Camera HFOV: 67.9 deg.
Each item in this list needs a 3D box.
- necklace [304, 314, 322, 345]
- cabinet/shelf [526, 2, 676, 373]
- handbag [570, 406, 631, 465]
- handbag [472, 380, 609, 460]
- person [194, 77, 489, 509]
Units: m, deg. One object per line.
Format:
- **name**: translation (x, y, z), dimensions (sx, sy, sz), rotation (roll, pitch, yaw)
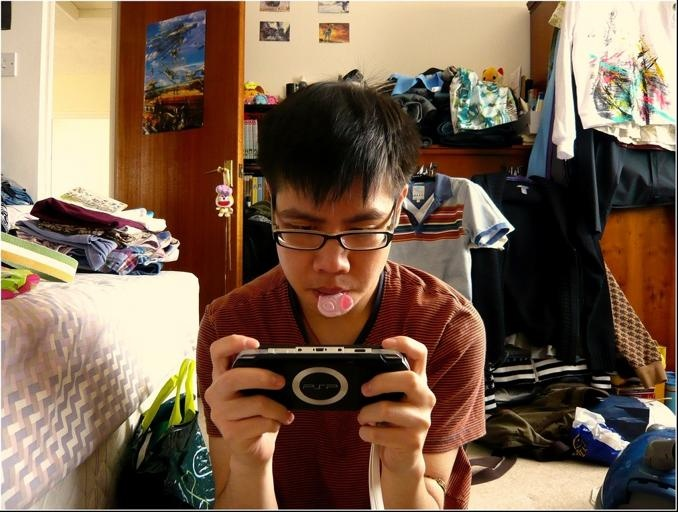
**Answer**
- **necklace**: translation (-0.058, 0.183, 1.253), dimensions (0.022, 0.049, 0.063), rotation (-17, -19, 1)
- **cabinet/shelf**: translation (1.444, -0.457, 2.759), dimensions (0.770, 2.069, 0.334), rotation (4, 6, 33)
- **handbag**: translation (1.031, 0.712, 2.040), dimensions (0.159, 0.186, 0.071), rotation (-37, -16, 30)
- **handbag**: translation (0.866, 0.717, 2.137), dimensions (0.323, 0.130, 0.342), rotation (-8, -3, 11)
- **person**: translation (0.019, 0.112, 1.197), dimensions (0.723, 1.057, 0.443), rotation (0, 5, -10)
